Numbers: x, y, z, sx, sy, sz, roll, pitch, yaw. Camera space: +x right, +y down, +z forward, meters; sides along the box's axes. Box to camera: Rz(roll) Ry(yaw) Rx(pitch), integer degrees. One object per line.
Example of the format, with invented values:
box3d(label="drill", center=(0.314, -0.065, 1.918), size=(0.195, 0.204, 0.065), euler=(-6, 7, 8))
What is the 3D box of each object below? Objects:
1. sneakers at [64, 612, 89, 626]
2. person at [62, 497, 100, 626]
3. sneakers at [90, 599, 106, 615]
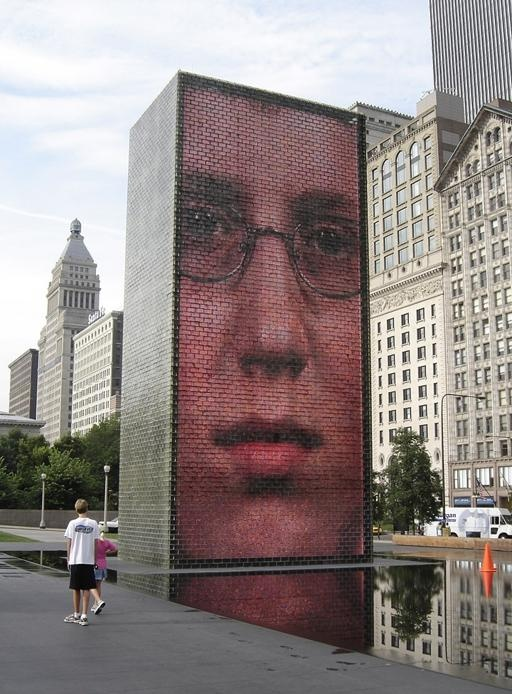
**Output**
box3d(label="sneakers", center=(-2.755, 4.176, 14.703), size=(0.175, 0.191, 0.432), euler=(9, -12, -34))
box3d(label="person", center=(-2.680, 3.296, 14.692), size=(0.505, 1.884, 0.803), euler=(2, -12, -10))
box3d(label="sneakers", center=(-2.636, 4.357, 16.037), size=(0.168, 0.193, 0.446), euler=(-31, -28, -39))
